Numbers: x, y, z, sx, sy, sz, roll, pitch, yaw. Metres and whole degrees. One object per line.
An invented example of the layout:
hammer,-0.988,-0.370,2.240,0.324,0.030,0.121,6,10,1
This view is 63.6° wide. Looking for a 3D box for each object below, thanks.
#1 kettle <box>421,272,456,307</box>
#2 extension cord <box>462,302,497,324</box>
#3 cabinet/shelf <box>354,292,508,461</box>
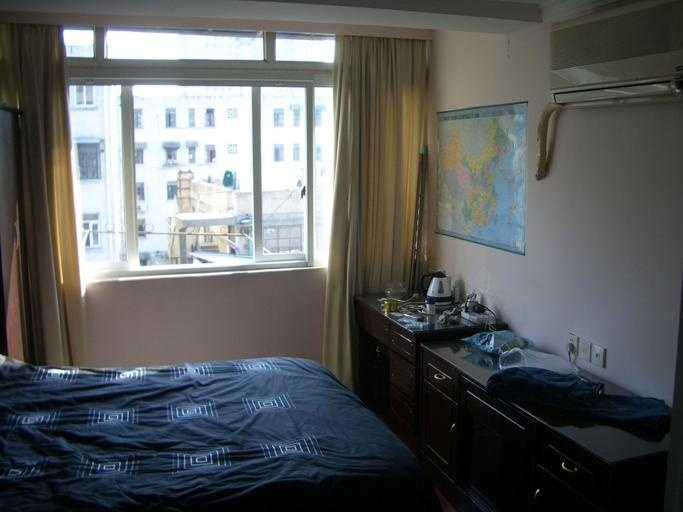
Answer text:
kettle,0.729,0.242,4.216,0.227,0.257,0.207,-1,9,-5
extension cord,0.963,0.394,3.882,0.120,0.100,0.233,-1,4,-16
cabinet/shelf,0.533,0.846,4.371,0.588,1.024,1.024,-8,15,-23
